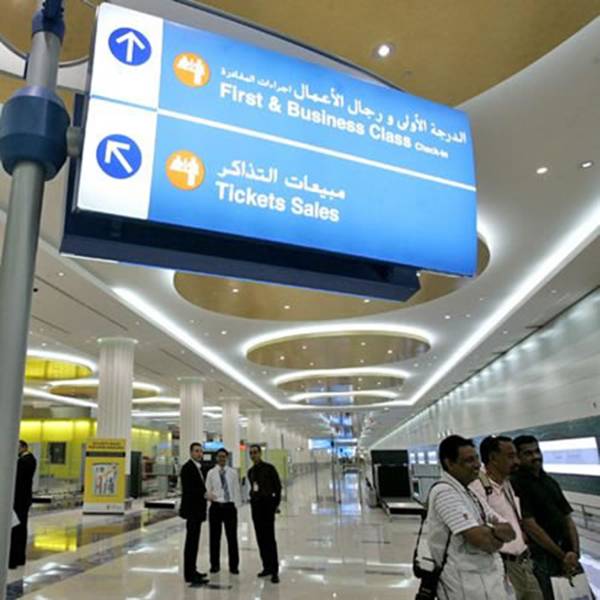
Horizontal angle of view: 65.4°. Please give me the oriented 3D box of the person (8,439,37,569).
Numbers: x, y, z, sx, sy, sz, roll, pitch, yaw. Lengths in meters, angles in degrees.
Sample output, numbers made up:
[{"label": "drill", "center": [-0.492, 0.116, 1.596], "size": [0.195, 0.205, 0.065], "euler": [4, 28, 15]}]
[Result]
[{"label": "person", "center": [-4.676, 3.388, 7.823], "size": [0.302, 2.053, 1.260], "euler": [7, -18, -28]}]

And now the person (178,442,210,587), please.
[{"label": "person", "center": [-1.672, 3.305, 7.363], "size": [0.453, 2.032, 0.680], "euler": [-1, -16, -1]}]

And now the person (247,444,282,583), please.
[{"label": "person", "center": [-0.583, 3.436, 7.725], "size": [0.542, 2.018, 0.858], "euler": [0, -16, -5]}]
